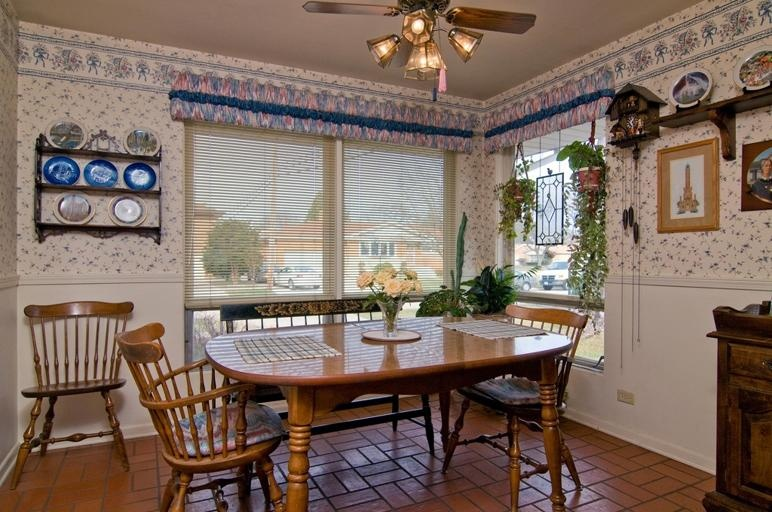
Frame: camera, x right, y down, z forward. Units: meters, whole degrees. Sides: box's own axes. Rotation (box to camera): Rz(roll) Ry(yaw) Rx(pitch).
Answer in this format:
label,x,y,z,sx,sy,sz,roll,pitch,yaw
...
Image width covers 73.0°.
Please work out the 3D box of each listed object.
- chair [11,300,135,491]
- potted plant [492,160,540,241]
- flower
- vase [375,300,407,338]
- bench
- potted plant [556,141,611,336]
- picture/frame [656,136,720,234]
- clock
label,x,y,z,sx,sy,sz,roll,pitch,yaw
chair,-2.638,1.083,4.435,0.878,1.307,0.786,-2,8,-21
potted plant,1.460,-0.612,5.777,0.427,0.922,0.421,7,10,35
flower,0.050,0.374,3.939,0.469,0.408,0.443,3,-4,9
vase,0.024,0.478,3.934,0.254,0.263,0.237,-1,-5,4
bench,-0.440,0.929,3.898,1.363,0.965,0.519,3,-8,-34
potted plant,1.939,-0.285,5.096,0.288,1.642,0.519,-1,8,-12
picture/frame,2.573,-0.582,4.428,0.520,0.787,0.150,6,10,33
clock,2.178,-1.238,4.589,0.274,0.477,0.438,5,-5,-34
